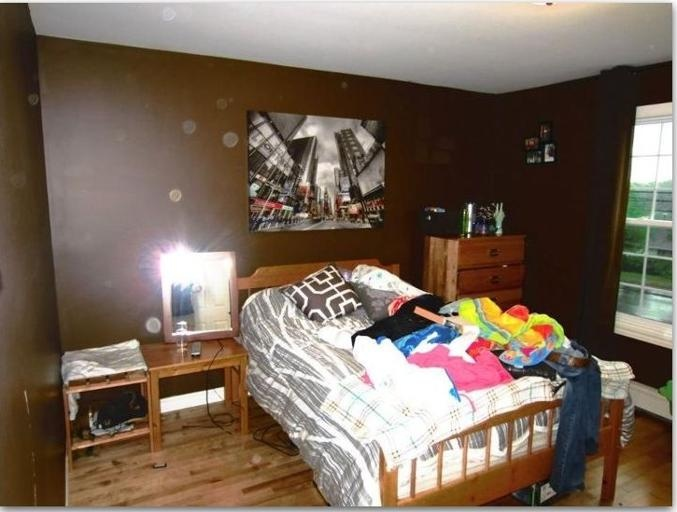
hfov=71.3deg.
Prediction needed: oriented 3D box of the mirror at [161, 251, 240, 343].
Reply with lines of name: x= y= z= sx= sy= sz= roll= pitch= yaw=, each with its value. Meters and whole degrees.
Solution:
mirror: x=-1.136 y=0.340 z=3.807 sx=0.719 sy=0.871 sz=0.065 roll=-3 pitch=5 yaw=-24

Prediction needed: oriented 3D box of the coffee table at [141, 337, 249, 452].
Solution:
coffee table: x=-1.135 y=1.031 z=3.765 sx=0.770 sy=0.643 sz=0.579 roll=-4 pitch=11 yaw=-33

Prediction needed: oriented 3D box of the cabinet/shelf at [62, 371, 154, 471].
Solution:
cabinet/shelf: x=-1.651 y=1.167 z=3.349 sx=0.663 sy=0.638 sz=0.251 roll=-2 pitch=0 yaw=-31

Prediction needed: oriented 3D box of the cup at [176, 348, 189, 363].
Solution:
cup: x=-1.170 y=0.740 z=3.548 sx=0.094 sy=0.067 sz=0.093 roll=1 pitch=4 yaw=0

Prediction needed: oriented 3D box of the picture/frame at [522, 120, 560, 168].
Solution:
picture/frame: x=2.111 y=-1.167 z=4.911 sx=0.034 sy=0.419 sz=0.325 roll=-11 pitch=11 yaw=-41

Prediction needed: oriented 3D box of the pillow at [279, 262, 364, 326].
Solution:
pillow: x=-0.115 y=0.322 z=3.966 sx=0.485 sy=0.449 sz=0.145 roll=-23 pitch=-26 yaw=-37
